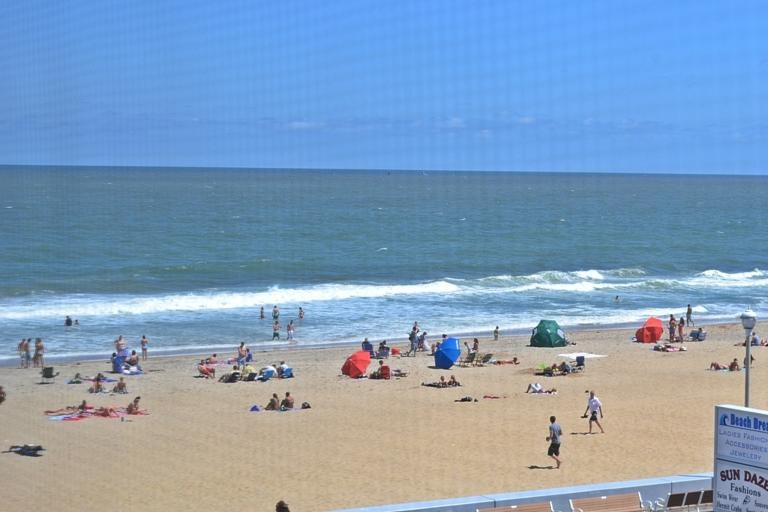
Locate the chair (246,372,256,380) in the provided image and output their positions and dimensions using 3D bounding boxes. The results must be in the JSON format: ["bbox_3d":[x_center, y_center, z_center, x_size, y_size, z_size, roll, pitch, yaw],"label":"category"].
[{"bbox_3d":[-6.513,5.901,56.813,0.528,0.393,0.247,-1,-2,-11],"label":"chair"}]

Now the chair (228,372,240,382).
[{"bbox_3d":[-7.361,5.919,56.670,0.568,0.463,0.299,-1,-2,-9],"label":"chair"}]

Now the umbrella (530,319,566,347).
[{"bbox_3d":[9.244,4.305,64.240,1.866,1.023,1.796,7,13,37],"label":"umbrella"}]

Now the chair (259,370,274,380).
[{"bbox_3d":[-5.771,5.851,56.911,0.722,0.491,0.362,-1,-2,-7],"label":"chair"}]

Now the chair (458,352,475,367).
[{"bbox_3d":[4.301,5.273,59.594,0.866,0.705,1.309,-1,-1,3],"label":"chair"}]

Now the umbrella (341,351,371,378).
[{"bbox_3d":[-1.185,5.475,57.646,1.463,1.221,0.603,-32,-40,18],"label":"umbrella"}]

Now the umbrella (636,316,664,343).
[{"bbox_3d":[15.081,4.206,65.513,1.404,0.791,1.718,7,21,21],"label":"umbrella"}]
